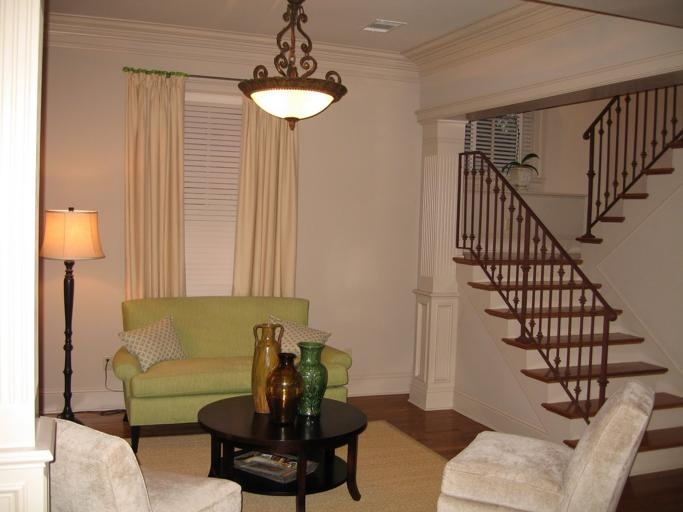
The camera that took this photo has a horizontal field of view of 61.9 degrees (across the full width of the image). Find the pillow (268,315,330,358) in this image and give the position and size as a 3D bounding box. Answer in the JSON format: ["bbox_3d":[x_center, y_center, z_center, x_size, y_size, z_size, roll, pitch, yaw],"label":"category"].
[{"bbox_3d":[-0.396,0.727,5.312,0.405,0.139,0.443,17,7,-1],"label":"pillow"}]

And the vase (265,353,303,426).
[{"bbox_3d":[-0.385,0.884,3.879,0.251,0.487,0.184,-1,7,-7],"label":"vase"}]

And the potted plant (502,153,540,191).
[{"bbox_3d":[2.181,-0.992,6.990,0.454,0.370,0.490,1,-5,-4],"label":"potted plant"}]
